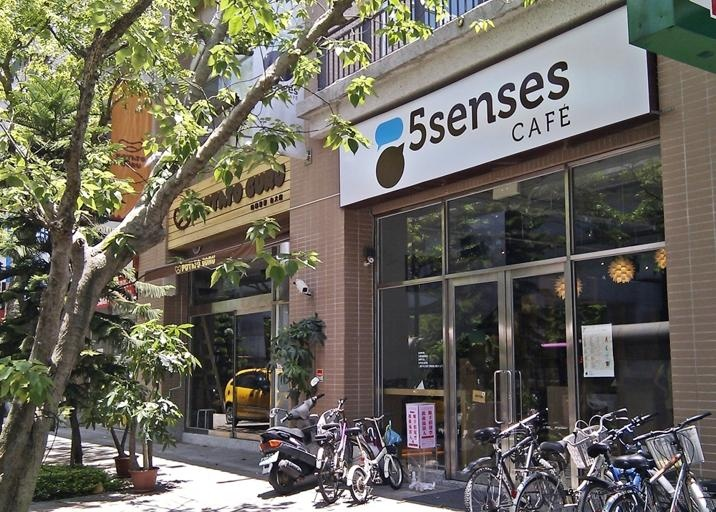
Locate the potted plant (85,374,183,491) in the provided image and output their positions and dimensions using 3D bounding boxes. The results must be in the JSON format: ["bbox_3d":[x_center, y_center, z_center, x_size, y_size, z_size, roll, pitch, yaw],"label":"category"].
[{"bbox_3d":[-3.475,2.914,10.240,1.216,1.672,1.214,-9,-7,30],"label":"potted plant"}]

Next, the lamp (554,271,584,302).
[{"bbox_3d":[3.018,0.437,9.045,0.091,0.350,0.435,4,-10,-36],"label":"lamp"}]

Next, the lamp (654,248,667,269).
[{"bbox_3d":[3.902,0.036,8.076,0.064,0.290,0.195,0,-8,-9],"label":"lamp"}]

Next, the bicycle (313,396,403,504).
[{"bbox_3d":[-0.077,2.997,9.785,0.969,1.447,1.560,-6,-9,27],"label":"bicycle"}]
